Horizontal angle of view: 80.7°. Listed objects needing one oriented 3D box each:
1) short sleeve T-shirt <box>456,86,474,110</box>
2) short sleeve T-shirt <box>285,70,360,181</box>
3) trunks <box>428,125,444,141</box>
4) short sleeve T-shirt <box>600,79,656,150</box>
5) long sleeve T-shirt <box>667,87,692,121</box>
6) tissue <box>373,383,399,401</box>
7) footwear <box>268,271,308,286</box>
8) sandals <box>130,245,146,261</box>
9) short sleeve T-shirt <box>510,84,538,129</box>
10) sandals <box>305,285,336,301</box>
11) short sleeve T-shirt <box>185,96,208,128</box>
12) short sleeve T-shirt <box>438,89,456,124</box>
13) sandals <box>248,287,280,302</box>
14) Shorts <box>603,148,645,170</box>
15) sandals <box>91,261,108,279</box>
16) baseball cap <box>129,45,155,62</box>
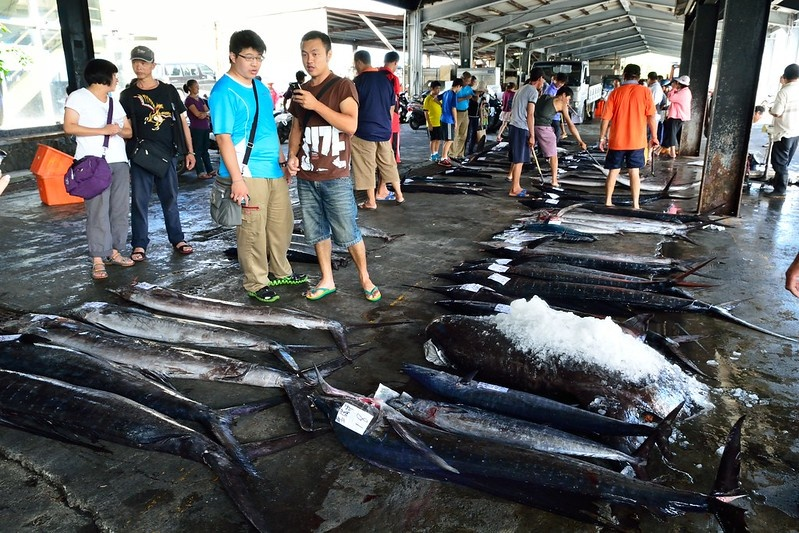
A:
[{"bbox_3d":[1.657,-4.341,11.999,0.240,0.637,0.627,10,19,31],"label":"short sleeve T-shirt"},{"bbox_3d":[-0.705,-1.297,4.405,0.920,0.943,0.429,13,31,32],"label":"short sleeve T-shirt"},{"bbox_3d":[0.880,-3.304,11.588,0.492,0.277,0.587,2,11,22],"label":"trunks"},{"bbox_3d":[3.410,-2.264,7.029,0.709,1.008,0.378,5,18,18],"label":"short sleeve T-shirt"},{"bbox_3d":[7.055,-4.128,11.952,0.492,0.537,0.544,12,18,13],"label":"long sleeve T-shirt"},{"bbox_3d":[-0.093,0.854,3.156,0.131,0.025,0.114,6,28,-1],"label":"tissue"},{"bbox_3d":[-1.174,0.145,4.976,0.303,0.107,0.158,-20,-2,8],"label":"footwear"},{"bbox_3d":[-3.050,-0.152,5.480,0.175,0.074,0.371,-3,11,-25],"label":"sandals"},{"bbox_3d":[2.139,-2.790,8.127,0.365,0.763,0.547,-10,19,-27],"label":"short sleeve T-shirt"},{"bbox_3d":[-0.795,0.267,4.648,0.258,0.059,0.143,-4,7,-34],"label":"sandals"},{"bbox_3d":[-4.170,-3.195,9.700,0.414,0.643,0.517,-7,18,-19],"label":"short sleeve T-shirt"},{"bbox_3d":[1.124,-3.695,10.841,0.326,0.762,0.392,-1,17,0],"label":"short sleeve T-shirt"},{"bbox_3d":[-1.300,0.280,4.565,0.313,0.107,0.124,2,8,16],"label":"sandals"},{"bbox_3d":[3.405,-1.642,7.131,0.672,0.388,0.322,4,34,17],"label":"Shorts"},{"bbox_3d":[-3.199,0.055,5.008,0.114,0.067,0.299,-10,19,-35],"label":"sandals"},{"bbox_3d":[-2.794,-2.303,5.078,0.194,0.102,0.228,7,12,-7],"label":"baseball cap"}]
